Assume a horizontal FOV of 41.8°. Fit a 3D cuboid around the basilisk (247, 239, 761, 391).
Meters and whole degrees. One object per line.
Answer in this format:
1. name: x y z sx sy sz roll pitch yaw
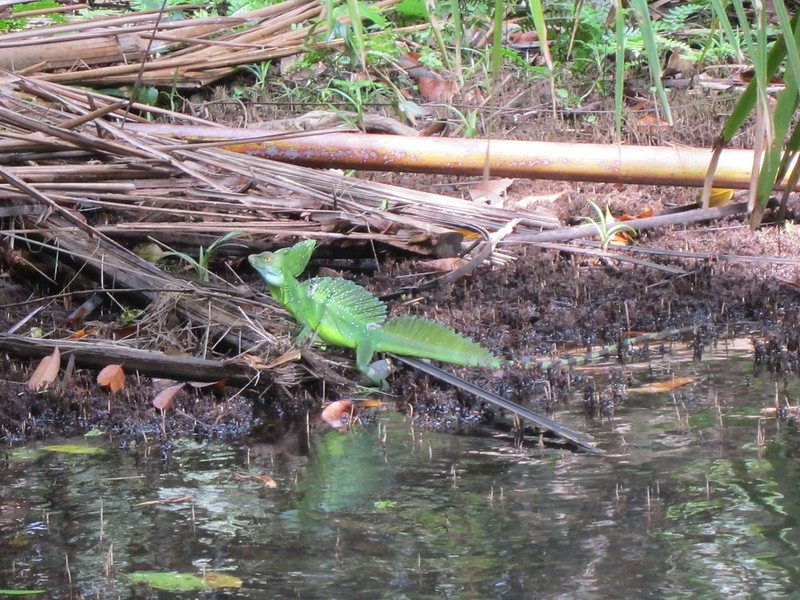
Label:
1. basilisk: 0.203 0.184 6.050 0.582 3.233 0.625 10 88 40
